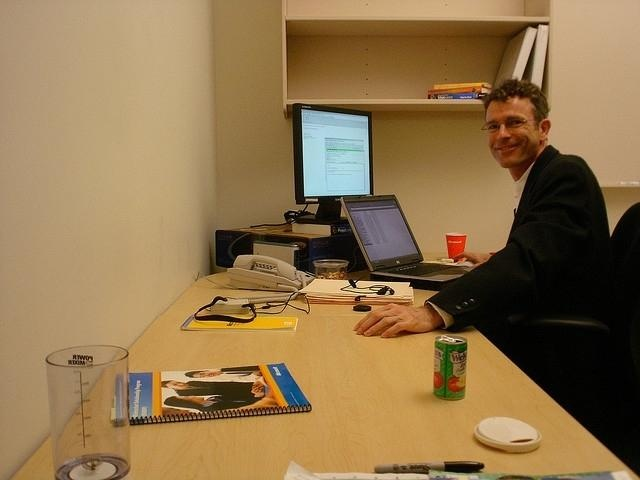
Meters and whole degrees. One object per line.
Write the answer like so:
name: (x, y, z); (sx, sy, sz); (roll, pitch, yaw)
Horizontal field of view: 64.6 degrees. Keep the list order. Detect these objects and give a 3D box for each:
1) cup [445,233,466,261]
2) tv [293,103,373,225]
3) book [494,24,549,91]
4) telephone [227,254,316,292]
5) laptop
cup: (0.609, 0.030, 2.233); (0.106, 0.109, 0.105); (1, -1, 0)
tv: (0.051, -0.324, 2.132); (0.196, 0.549, 0.555); (0, 2, 42)
book: (0.907, -0.816, 2.253); (0.118, 0.303, 0.325); (9, 22, 5)
telephone: (-0.195, 0.112, 1.754); (0.226, 0.082, 0.137); (-1, 3, 13)
laptop: (0.330, -0.064, 1.934); (0.386, 0.280, 0.406); (0, 10, 29)
